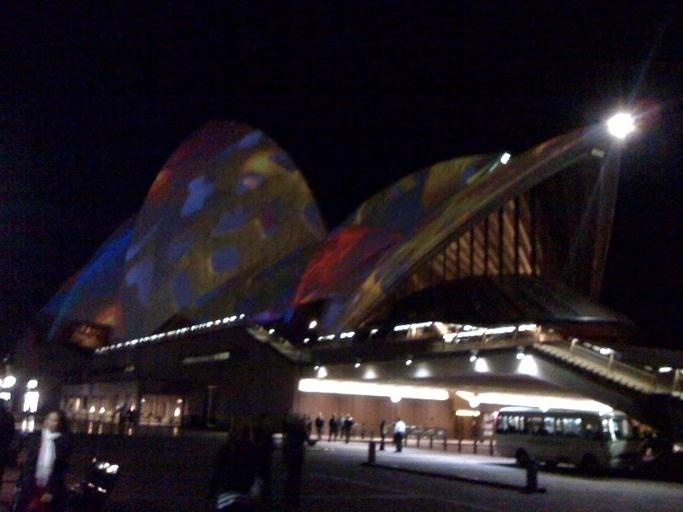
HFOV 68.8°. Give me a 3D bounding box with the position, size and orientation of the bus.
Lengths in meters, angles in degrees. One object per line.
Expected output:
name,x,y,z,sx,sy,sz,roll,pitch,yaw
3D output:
bus,9.789,8.104,22.177,2.102,2.565,6.244,16,-25,-33

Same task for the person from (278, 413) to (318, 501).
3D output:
person,-1.058,4.672,11.553,0.581,1.968,1.129,4,-20,-6
